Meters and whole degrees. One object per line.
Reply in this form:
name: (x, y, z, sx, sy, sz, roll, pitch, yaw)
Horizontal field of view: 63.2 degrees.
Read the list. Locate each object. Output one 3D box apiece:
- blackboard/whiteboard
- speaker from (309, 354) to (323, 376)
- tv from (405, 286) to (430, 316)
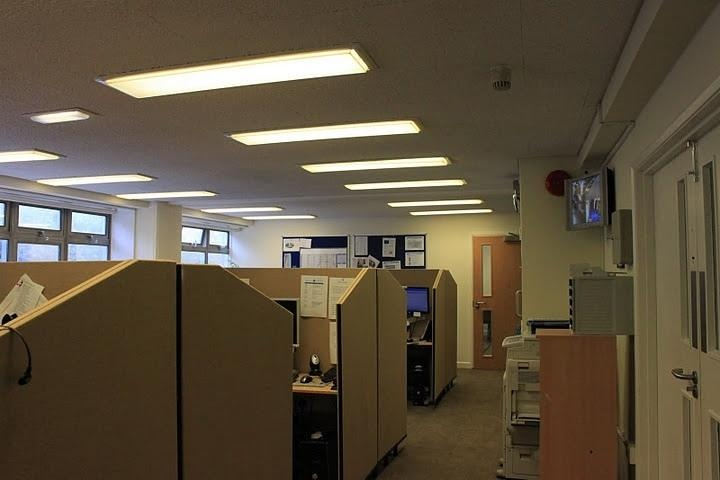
blackboard/whiteboard: (-0.150, 0.194, 10.999, 2.876, 0.635, 0.193, -2, -6, 22)
speaker: (-0.392, 1.081, 5.129, 0.106, 0.178, 0.112, 1, -5, -5)
tv: (0.739, 0.764, 7.471, 0.446, 0.383, 0.166, -1, -4, 24)
